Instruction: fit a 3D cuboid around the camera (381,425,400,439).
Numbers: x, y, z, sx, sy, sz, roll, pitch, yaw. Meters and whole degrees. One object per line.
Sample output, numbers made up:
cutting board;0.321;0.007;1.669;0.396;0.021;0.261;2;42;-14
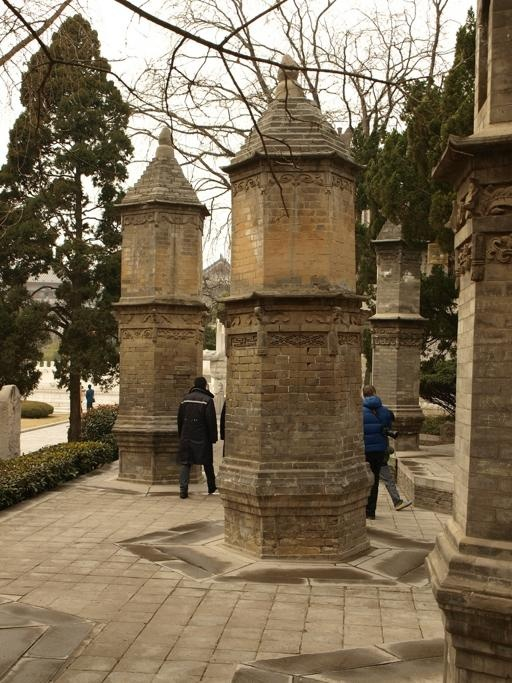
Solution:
camera;1.795;1.226;11.021;0.192;0.152;0.303;0;0;28

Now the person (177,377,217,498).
person;-0.917;1.478;12.421;0.579;1.853;0.910;0;0;-6
